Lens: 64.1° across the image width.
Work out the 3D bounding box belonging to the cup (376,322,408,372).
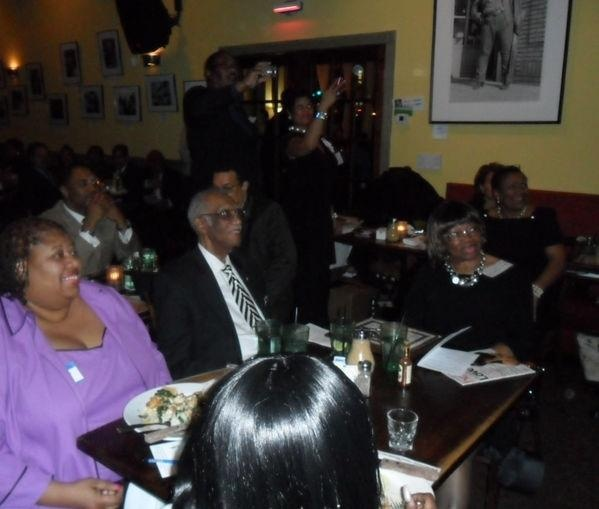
[{"bbox_3d":[0.389,0.400,2.003,0.119,0.218,0.136,0,-4,-1],"label":"cup"}]

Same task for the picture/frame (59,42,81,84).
[{"bbox_3d":[-3.805,-3.232,7.968,0.614,0.783,0.055,9,12,35],"label":"picture/frame"}]

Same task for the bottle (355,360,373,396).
[{"bbox_3d":[0.234,0.437,1.714,0.057,0.108,0.061,1,-1,0],"label":"bottle"}]

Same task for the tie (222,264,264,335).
[{"bbox_3d":[-0.283,0.225,2.329,0.071,0.321,0.080,-29,0,19],"label":"tie"}]

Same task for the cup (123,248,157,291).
[{"bbox_3d":[-0.953,0.096,2.857,0.193,0.241,0.197,14,-3,1],"label":"cup"}]

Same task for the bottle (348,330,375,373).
[{"bbox_3d":[0.231,0.356,1.793,0.080,0.233,0.085,-1,34,1],"label":"bottle"}]

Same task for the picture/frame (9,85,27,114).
[{"bbox_3d":[-5.298,-2.947,9.036,0.508,0.659,0.045,6,10,35],"label":"picture/frame"}]

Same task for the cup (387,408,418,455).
[{"bbox_3d":[0.305,0.525,1.425,0.092,0.111,0.098,-1,8,0],"label":"cup"}]

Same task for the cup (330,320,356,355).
[{"bbox_3d":[0.181,0.357,2.051,0.108,0.146,0.118,4,1,0],"label":"cup"}]

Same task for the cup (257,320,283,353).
[{"bbox_3d":[-0.120,0.346,1.959,0.091,0.126,0.085,-1,-14,0],"label":"cup"}]

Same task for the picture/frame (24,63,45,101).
[{"bbox_3d":[-4.769,-3.160,8.642,0.577,0.862,0.061,7,9,32],"label":"picture/frame"}]

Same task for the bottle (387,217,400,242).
[{"bbox_3d":[0.833,-0.216,4.223,0.112,0.162,0.251,4,18,11],"label":"bottle"}]

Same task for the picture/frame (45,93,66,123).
[{"bbox_3d":[-4.265,-2.608,8.408,0.469,0.527,0.047,8,13,35],"label":"picture/frame"}]

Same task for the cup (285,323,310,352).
[{"bbox_3d":[-0.010,0.339,1.990,0.097,0.116,0.113,1,-2,4],"label":"cup"}]
